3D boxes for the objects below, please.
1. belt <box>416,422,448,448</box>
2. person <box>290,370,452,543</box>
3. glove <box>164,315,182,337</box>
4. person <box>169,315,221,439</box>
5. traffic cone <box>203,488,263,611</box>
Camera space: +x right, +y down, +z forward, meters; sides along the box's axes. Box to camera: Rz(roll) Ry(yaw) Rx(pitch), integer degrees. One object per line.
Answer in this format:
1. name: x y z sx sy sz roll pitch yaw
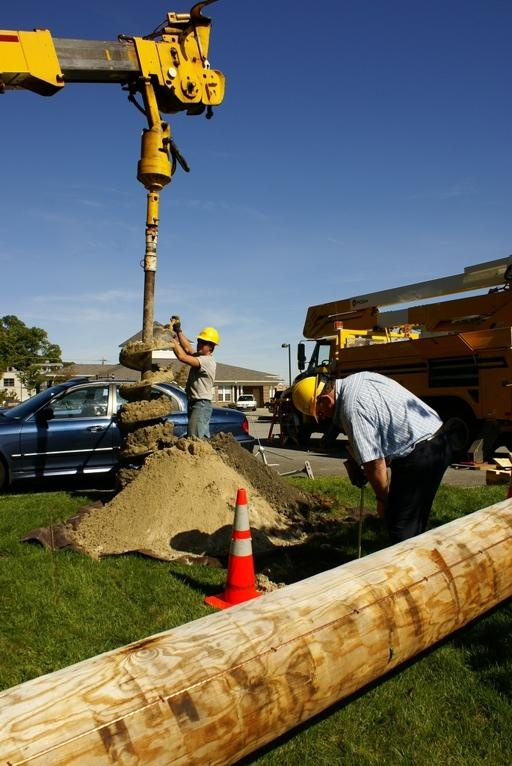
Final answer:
1. belt: 0.919 0.275 3.258 0.116 0.159 0.087 22 29 -55
2. person: 0.711 0.517 3.387 0.761 1.135 0.586 -3 16 24
3. glove: -0.785 -0.537 5.647 0.083 0.162 0.169 3 3 36
4. person: -0.585 -0.029 5.766 0.426 1.181 0.774 1 2 8
5. traffic cone: -0.054 0.934 3.459 0.423 0.605 0.417 -4 -6 27
